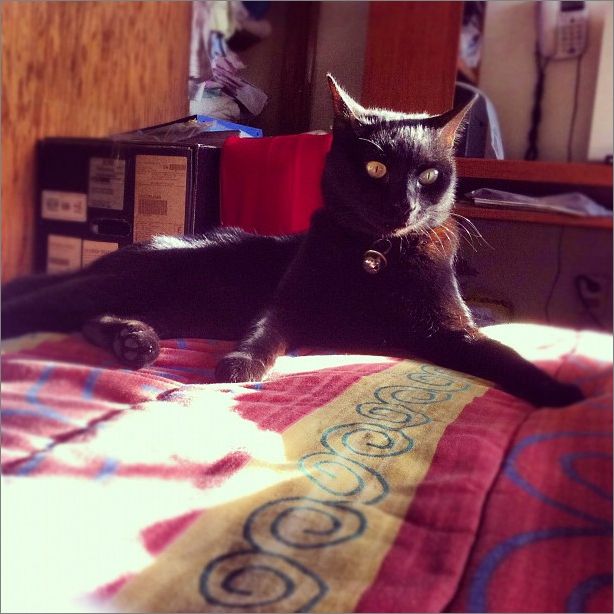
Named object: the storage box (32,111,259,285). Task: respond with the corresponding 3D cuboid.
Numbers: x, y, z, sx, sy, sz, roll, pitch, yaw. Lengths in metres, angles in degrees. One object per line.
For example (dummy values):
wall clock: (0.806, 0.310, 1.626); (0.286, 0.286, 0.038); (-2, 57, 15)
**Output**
storage box: (-0.257, -0.128, 0.891); (0.229, 0.179, 0.133); (1, -1, 7)
